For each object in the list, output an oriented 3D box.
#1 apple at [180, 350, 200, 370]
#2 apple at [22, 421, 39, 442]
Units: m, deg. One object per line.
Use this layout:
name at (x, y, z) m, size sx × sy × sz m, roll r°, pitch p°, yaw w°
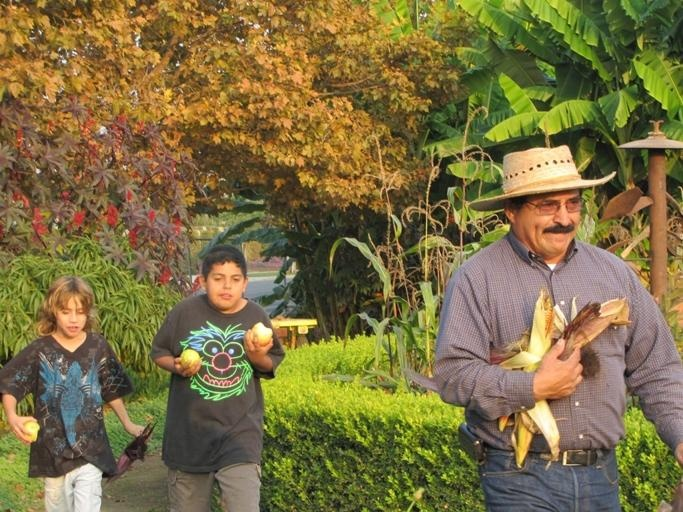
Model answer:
apple at (-1.079, 0.740, 6.486) m, size 0.150 × 0.145 × 0.141 m, roll -1°, pitch -10°, yaw -13°
apple at (-2.218, 1.267, 6.477) m, size 0.059 × 0.143 × 0.136 m, roll -5°, pitch -10°, yaw 18°
